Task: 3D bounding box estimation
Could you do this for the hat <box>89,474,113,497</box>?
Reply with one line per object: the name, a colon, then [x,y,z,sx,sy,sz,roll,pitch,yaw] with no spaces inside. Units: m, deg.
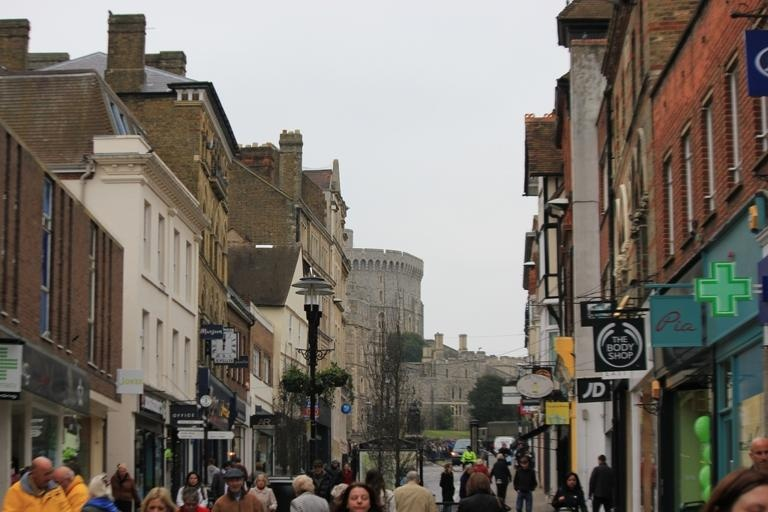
hat: [-6.312,5.129,43.595,0.483,0.600,0.551,1,-20,-9]
